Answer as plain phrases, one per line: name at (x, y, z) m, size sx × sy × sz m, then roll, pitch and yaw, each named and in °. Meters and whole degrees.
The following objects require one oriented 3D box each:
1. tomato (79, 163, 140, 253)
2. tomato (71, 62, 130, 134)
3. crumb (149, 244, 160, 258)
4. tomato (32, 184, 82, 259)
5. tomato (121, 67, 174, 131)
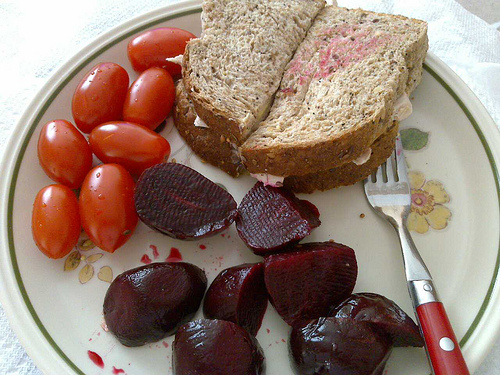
tomato at (-0.576, 0.078, 2.143) m, size 0.264 × 0.238 × 0.392 m, roll 2°, pitch 53°, yaw -20°
tomato at (-0.648, -0.393, 2.289) m, size 0.201 × 0.161 × 0.307 m, roll 29°, pitch 68°, yaw -16°
crumb at (-0.385, 0.256, 2.105) m, size 0.026 × 0.009 × 0.060 m, roll -25°, pitch 80°, yaw 4°
tomato at (-0.754, 0.153, 2.034) m, size 0.170 × 0.147 × 0.292 m, roll 4°, pitch 78°, yaw -26°
tomato at (-0.430, -0.374, 2.287) m, size 0.164 × 0.153 × 0.285 m, roll 29°, pitch 68°, yaw -5°
